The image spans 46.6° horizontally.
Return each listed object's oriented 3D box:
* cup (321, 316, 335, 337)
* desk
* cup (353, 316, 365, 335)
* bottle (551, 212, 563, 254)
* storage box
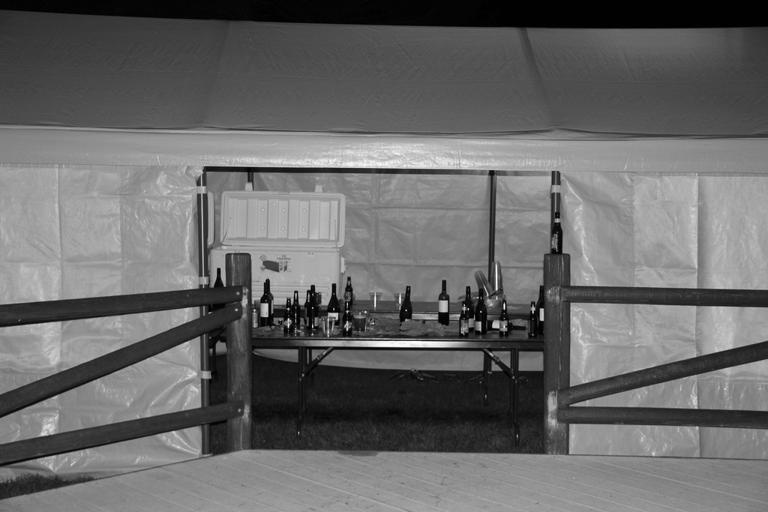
[{"bbox_3d":[-0.393,0.485,6.100,0.115,0.113,0.116,0,-5,0],"label":"cup"},{"bbox_3d":[0.142,0.831,6.904,1.907,0.944,2.362,2,5,3],"label":"desk"},{"bbox_3d":[-0.173,0.470,6.173,0.099,0.078,0.101,1,-4,0],"label":"cup"},{"bbox_3d":[1.143,-0.161,5.904,0.068,0.276,0.198,2,5,8],"label":"bottle"},{"bbox_3d":[-0.818,-0.065,6.918,0.938,0.881,0.488,-1,9,-1],"label":"storage box"}]
